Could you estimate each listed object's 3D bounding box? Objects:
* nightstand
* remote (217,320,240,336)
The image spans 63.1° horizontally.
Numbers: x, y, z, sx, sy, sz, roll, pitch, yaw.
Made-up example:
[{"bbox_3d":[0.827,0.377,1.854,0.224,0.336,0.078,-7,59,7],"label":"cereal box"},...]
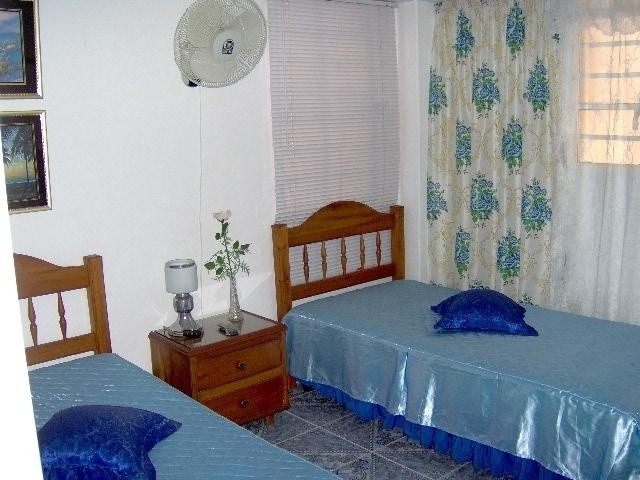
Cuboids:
[{"bbox_3d":[-0.612,0.676,3.406,0.603,0.859,0.810,9,14,43],"label":"nightstand"},{"bbox_3d":[-0.568,0.554,3.263,0.068,0.026,0.101,-7,18,-35],"label":"remote"}]
